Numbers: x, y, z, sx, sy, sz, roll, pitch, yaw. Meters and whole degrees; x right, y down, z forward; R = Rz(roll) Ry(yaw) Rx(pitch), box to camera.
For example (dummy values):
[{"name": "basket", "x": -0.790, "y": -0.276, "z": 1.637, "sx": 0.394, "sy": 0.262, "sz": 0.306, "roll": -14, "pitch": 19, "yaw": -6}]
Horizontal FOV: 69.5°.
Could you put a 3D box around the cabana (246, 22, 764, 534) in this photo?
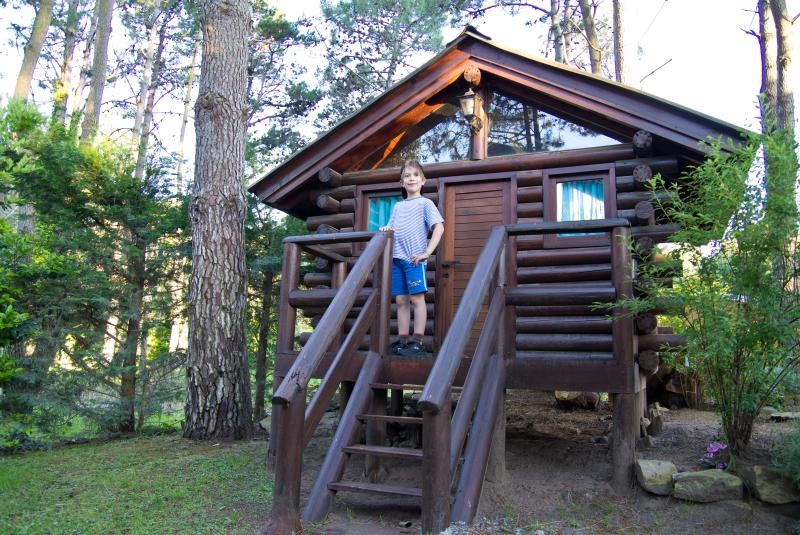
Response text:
[{"name": "cabana", "x": 1.397, "y": -0.015, "z": 8.927, "sx": 6.088, "sy": 5.940, "sz": 6.996, "roll": -4, "pitch": -12, "yaw": 25}]

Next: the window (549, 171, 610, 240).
[{"name": "window", "x": 2.666, "y": -0.893, "z": 8.494, "sx": 1.027, "sy": 1.306, "sz": 0.139, "roll": -1, "pitch": -12, "yaw": 15}]

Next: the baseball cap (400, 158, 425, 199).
[{"name": "baseball cap", "x": 0.171, "y": -1.171, "z": 7.856, "sx": 0.323, "sy": 0.575, "sz": 0.357, "roll": -2, "pitch": -4, "yaw": 9}]

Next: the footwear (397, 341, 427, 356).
[{"name": "footwear", "x": 0.159, "y": 1.075, "z": 7.468, "sx": 0.298, "sy": 0.133, "sz": 0.156, "roll": 2, "pitch": -10, "yaw": -12}]

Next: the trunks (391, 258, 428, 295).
[{"name": "trunks", "x": 0.110, "y": 0.127, "z": 7.653, "sx": 0.521, "sy": 0.539, "sz": 0.333, "roll": -11, "pitch": -18, "yaw": 36}]

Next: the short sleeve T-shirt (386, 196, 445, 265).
[{"name": "short sleeve T-shirt", "x": 0.160, "y": -0.528, "z": 7.757, "sx": 0.886, "sy": 0.921, "sz": 0.349, "roll": -2, "pitch": -9, "yaw": 27}]

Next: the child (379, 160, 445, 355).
[{"name": "child", "x": 0.174, "y": -0.161, "z": 7.561, "sx": 0.728, "sy": 2.608, "sz": 0.585, "roll": 0, "pitch": -8, "yaw": 12}]

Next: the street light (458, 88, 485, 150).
[{"name": "street light", "x": 1.168, "y": -2.406, "z": 9.317, "sx": 0.370, "sy": 1.288, "sz": 0.448, "roll": -7, "pitch": -9, "yaw": 21}]
